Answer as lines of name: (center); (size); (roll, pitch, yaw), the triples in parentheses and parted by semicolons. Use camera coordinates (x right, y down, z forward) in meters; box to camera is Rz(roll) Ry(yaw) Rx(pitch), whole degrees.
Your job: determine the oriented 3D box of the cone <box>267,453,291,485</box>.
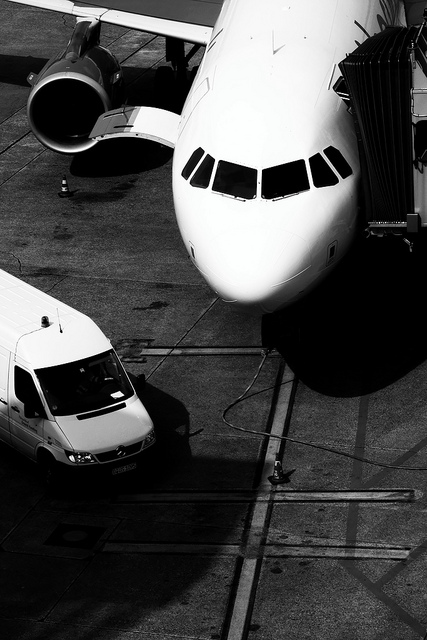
cone: (0.953, 2.199, 9.810); (0.349, 0.418, 0.324); (-2, 28, -4)
